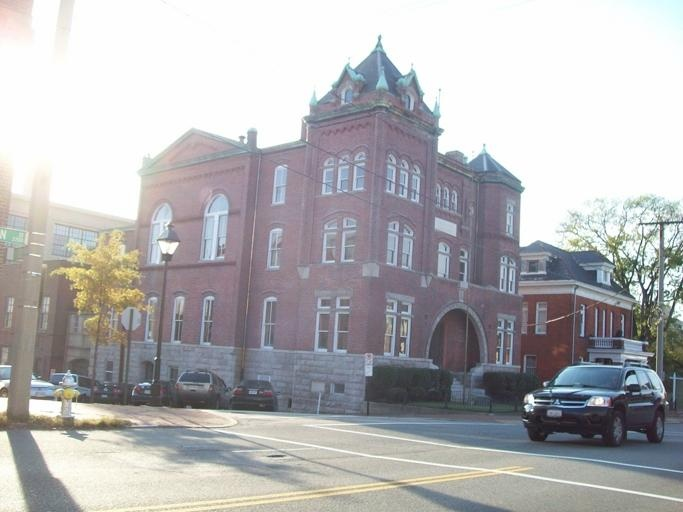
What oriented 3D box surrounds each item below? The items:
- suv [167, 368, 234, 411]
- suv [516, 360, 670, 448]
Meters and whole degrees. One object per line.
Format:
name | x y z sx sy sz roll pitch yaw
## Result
suv | -6.286 6.368 31.095 1.495 1.212 3.015 0 -6 10
suv | 6.705 3.999 17.005 2.087 1.648 3.917 -12 -23 38
